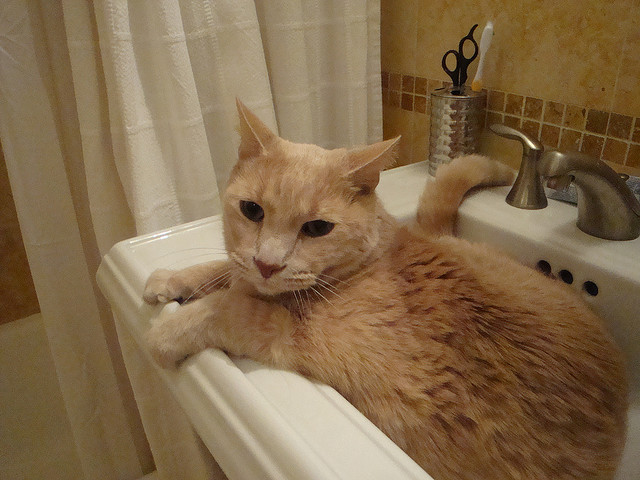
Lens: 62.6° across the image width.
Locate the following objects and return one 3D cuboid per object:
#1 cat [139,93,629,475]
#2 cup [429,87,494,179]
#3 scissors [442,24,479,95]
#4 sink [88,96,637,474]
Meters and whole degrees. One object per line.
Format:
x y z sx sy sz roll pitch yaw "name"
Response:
0.100 0.179 0.833 0.574 0.295 0.572 13 53 4 "cat"
0.319 -0.247 1.188 0.147 0.192 0.154 -5 28 2 "cup"
0.304 -0.383 1.137 0.063 0.178 0.007 24 17 33 "scissors"
0.085 0.052 0.836 0.547 0.392 0.583 -14 38 -23 "sink"
